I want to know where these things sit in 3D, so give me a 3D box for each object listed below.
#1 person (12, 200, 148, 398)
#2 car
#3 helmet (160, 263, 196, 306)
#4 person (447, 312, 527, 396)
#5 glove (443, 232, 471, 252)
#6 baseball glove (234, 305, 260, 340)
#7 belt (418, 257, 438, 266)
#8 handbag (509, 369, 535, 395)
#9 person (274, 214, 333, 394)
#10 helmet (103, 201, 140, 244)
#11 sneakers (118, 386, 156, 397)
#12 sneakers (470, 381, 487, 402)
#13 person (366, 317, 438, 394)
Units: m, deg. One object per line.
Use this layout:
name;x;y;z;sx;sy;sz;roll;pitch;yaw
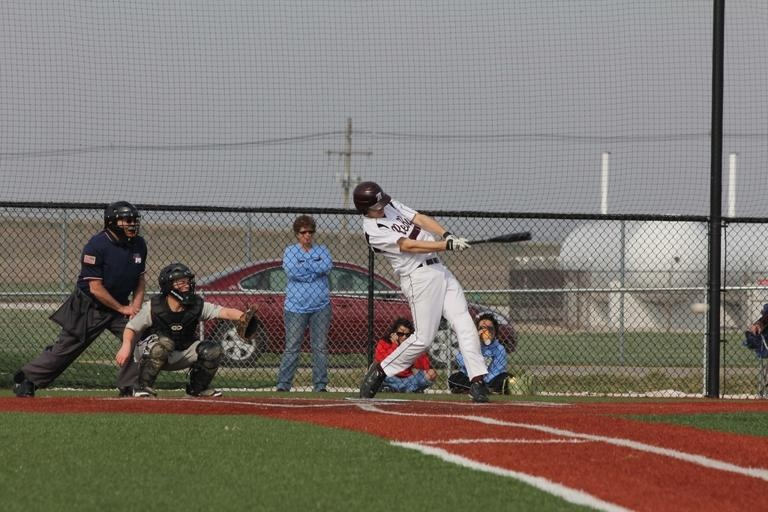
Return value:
person;-3.641;0.527;15.007;1.315;2.384;0.624;3;-8;-9
car;-0.665;0.801;18.672;4.521;1.497;1.921;1;-4;-9
helmet;-2.558;0.321;14.997;0.498;0.478;0.386;3;2;30
person;1.301;1.314;16.399;0.879;1.031;0.632;5;-15;-11
glove;0.870;-0.181;14.765;0.313;0.226;0.313;1;-8;2
baseball glove;-1.684;0.776;14.952;0.305;0.233;0.742;19;-18;-4
belt;0.539;0.065;14.828;0.147;0.054;0.110;-25;-1;-7
handbag;1.811;1.694;16.386;0.262;0.184;0.269;1;-3;-22
person;-1.079;0.637;16.561;0.696;2.387;0.424;2;-8;-5
helmet;-3.267;-0.441;15.125;0.501;0.503;0.423;-1;0;14
sneakers;-3.020;1.646;14.889;0.463;0.198;0.162;-2;-1;9
sneakers;1.133;1.622;14.719;0.210;0.253;0.180;1;-8;3
person;0.349;1.394;16.755;0.607;0.952;0.948;-4;1;-32
